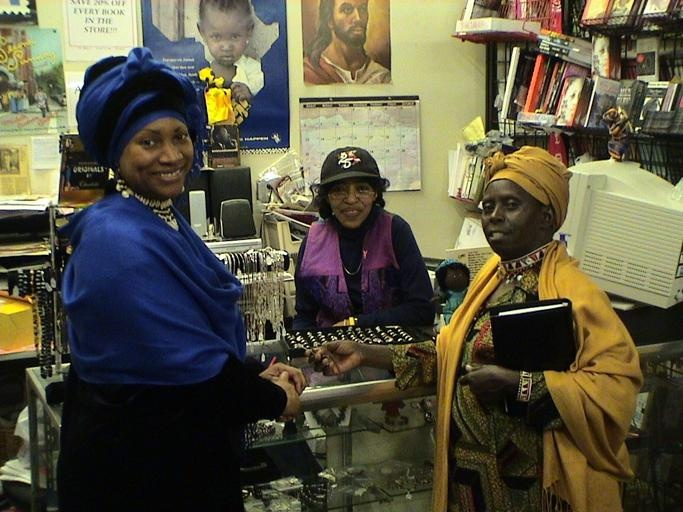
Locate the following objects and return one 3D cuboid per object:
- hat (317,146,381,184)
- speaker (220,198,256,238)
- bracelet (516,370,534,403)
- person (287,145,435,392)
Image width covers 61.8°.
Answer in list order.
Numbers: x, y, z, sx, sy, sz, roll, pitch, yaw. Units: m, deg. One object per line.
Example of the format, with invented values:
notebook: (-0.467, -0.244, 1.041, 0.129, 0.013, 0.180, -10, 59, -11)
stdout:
hat: (0.026, -0.431, 2.668, 0.298, 0.195, 0.390, -5, 4, -6)
speaker: (-0.737, -0.271, 4.001, 0.288, 0.318, 0.163, -4, 8, -13)
bracelet: (0.501, 0.357, 1.549, 0.041, 0.079, 0.031, 1, 9, 15)
person: (0.090, -0.001, 2.605, 0.529, 0.971, 0.494, -2, 12, -10)
